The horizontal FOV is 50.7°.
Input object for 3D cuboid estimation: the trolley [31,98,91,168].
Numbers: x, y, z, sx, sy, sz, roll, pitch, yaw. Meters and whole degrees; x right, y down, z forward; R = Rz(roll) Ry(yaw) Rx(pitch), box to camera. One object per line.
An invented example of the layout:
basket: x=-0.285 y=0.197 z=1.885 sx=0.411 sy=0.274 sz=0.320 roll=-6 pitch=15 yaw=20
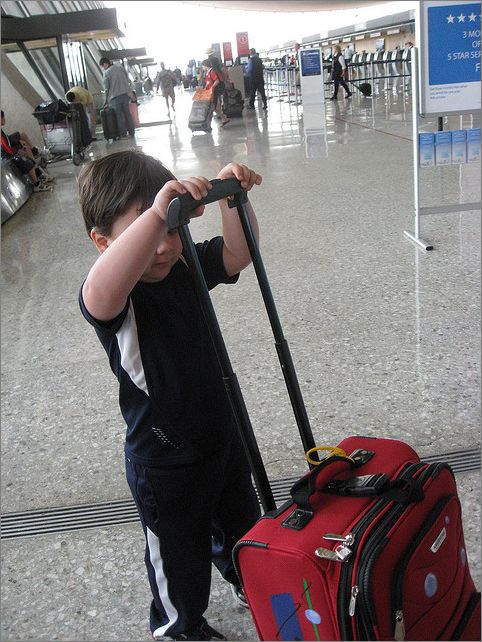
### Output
trolley: x=-3.279 y=-3.488 z=9.447 sx=0.686 sy=1.100 sz=1.069 roll=-3 pitch=28 yaw=7

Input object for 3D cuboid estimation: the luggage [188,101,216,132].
luggage: x=-0.875 y=-4.431 z=11.003 sx=0.460 sy=0.751 sz=0.766 roll=2 pitch=19 yaw=2

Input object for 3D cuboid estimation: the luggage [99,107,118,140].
luggage: x=-2.881 y=-4.306 z=11.116 sx=0.281 sy=0.586 sz=0.951 roll=-7 pitch=11 yaw=-8

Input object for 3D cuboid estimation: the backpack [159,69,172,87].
backpack: x=-2.535 y=-8.056 z=16.972 sx=0.468 sy=0.655 sz=0.668 roll=-7 pitch=36 yaw=-10

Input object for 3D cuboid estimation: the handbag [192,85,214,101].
handbag: x=-0.862 y=-4.993 z=11.284 sx=0.450 sy=0.411 sz=0.632 roll=-5 pitch=11 yaw=2

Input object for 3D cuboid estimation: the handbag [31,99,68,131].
handbag: x=-3.366 y=-3.630 z=8.890 sx=0.487 sy=0.326 sz=0.473 roll=-34 pitch=-23 yaw=31

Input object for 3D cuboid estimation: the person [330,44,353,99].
person: x=2.854 y=-7.116 z=14.596 sx=0.561 sy=1.513 sz=2.452 roll=-3 pitch=12 yaw=13

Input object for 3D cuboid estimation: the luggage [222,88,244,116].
luggage: x=-0.223 y=-5.524 z=12.930 sx=0.486 sy=0.660 sz=0.666 roll=-3 pitch=18 yaw=-2
